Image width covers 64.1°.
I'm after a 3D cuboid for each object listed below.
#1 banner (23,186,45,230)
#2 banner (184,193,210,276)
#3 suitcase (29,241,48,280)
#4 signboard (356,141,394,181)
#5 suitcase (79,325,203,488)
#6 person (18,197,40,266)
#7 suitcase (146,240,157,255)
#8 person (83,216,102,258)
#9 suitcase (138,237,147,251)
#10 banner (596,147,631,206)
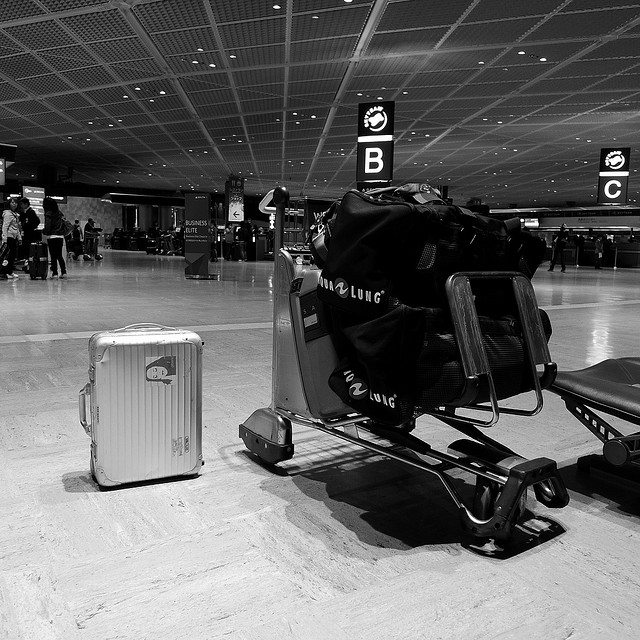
[{"bbox_3d":[-11.300,-4.449,20.245,0.841,1.735,0.016,2,6,-3],"label":"banner"},{"bbox_3d":[-2.949,-2.000,12.274,0.568,1.899,1.059,1,7,-14],"label":"banner"},{"bbox_3d":[-6.023,-1.274,10.982,0.349,0.784,0.530,-1,8,-29],"label":"suitcase"},{"bbox_3d":[0.962,-2.828,9.065,0.616,0.725,0.523,3,7,2],"label":"signboard"},{"bbox_3d":[-0.595,0.298,1.762,0.405,0.513,0.188,-1,8,-27],"label":"suitcase"},{"bbox_3d":[-6.697,-1.997,11.852,0.383,1.486,2.336,-1,7,-29],"label":"person"},{"bbox_3d":[-9.758,-4.242,29.798,0.523,0.778,0.285,2,7,-4],"label":"suitcase"},{"bbox_3d":[-9.137,-3.248,20.448,0.558,1.534,1.811,0,7,-25],"label":"person"},{"bbox_3d":[-11.798,-4.994,33.938,0.459,0.858,0.882,1,7,-15],"label":"suitcase"},{"bbox_3d":[7.804,-3.864,13.650,0.740,1.710,1.805,6,7,28],"label":"banner"}]
